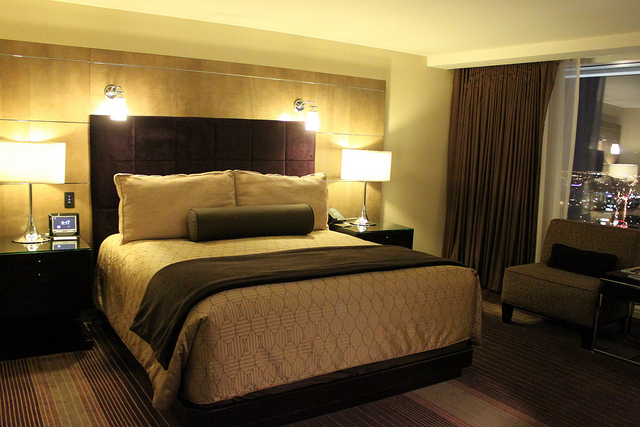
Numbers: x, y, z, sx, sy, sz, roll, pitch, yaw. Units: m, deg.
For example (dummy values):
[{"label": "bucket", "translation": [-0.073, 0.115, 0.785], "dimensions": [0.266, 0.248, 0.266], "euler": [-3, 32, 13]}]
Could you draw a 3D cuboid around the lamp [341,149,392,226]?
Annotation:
[{"label": "lamp", "translation": [0.583, -0.340, 5.860], "dimensions": [0.822, 0.969, 0.830], "euler": [9, 15, 29]}]

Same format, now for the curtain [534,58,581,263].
[{"label": "curtain", "translation": [3.060, -0.647, 5.834], "dimensions": [0.408, 2.598, 0.314], "euler": [4, 11, 16]}]

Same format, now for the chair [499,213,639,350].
[{"label": "chair", "translation": [2.695, 0.710, 4.958], "dimensions": [0.896, 1.152, 1.151], "euler": [-8, 14, -41]}]

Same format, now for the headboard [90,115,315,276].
[{"label": "headboard", "translation": [-1.257, -0.162, 4.481], "dimensions": [1.776, 1.178, 0.124], "euler": [-1, 2, -32]}]

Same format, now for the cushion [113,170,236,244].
[{"label": "cushion", "translation": [-1.403, -0.074, 4.617], "dimensions": [1.221, 0.689, 0.348], "euler": [-7, 12, -37]}]

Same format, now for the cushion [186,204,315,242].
[{"label": "cushion", "translation": [-0.677, 0.079, 4.608], "dimensions": [1.242, 0.361, 0.331], "euler": [-3, 1, -10]}]

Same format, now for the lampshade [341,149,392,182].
[{"label": "lampshade", "translation": [0.557, -0.592, 5.513], "dimensions": [0.450, 0.301, 0.445], "euler": [2, 6, -3]}]

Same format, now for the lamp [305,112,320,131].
[{"label": "lamp", "translation": [-0.094, -1.104, 5.506], "dimensions": [0.210, 0.236, 0.216], "euler": [1, 2, 35]}]

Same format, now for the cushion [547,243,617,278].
[{"label": "cushion", "translation": [2.867, 0.533, 4.971], "dimensions": [0.626, 0.291, 0.201], "euler": [15, 0, 39]}]

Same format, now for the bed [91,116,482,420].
[{"label": "bed", "translation": [-0.470, 0.256, 4.214], "dimensions": [2.682, 2.266, 2.795], "euler": [-6, 12, -33]}]

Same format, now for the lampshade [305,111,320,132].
[{"label": "lampshade", "translation": [-0.091, -1.116, 5.485], "dimensions": [0.203, 0.223, 0.201], "euler": [3, 2, 0]}]
